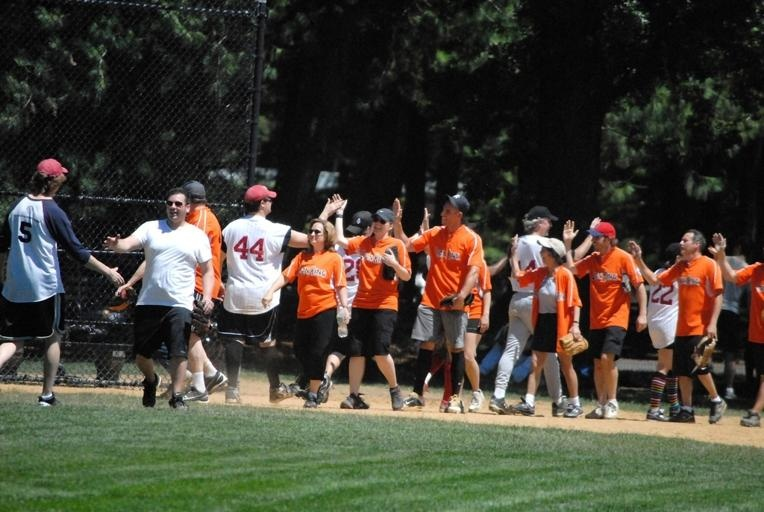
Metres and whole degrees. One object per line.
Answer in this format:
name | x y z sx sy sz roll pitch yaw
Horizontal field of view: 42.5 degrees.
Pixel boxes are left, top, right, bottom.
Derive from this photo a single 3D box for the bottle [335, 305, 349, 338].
bottle | -0.507 0.871 13.052 0.184 0.367 0.578 4 -10 -2
